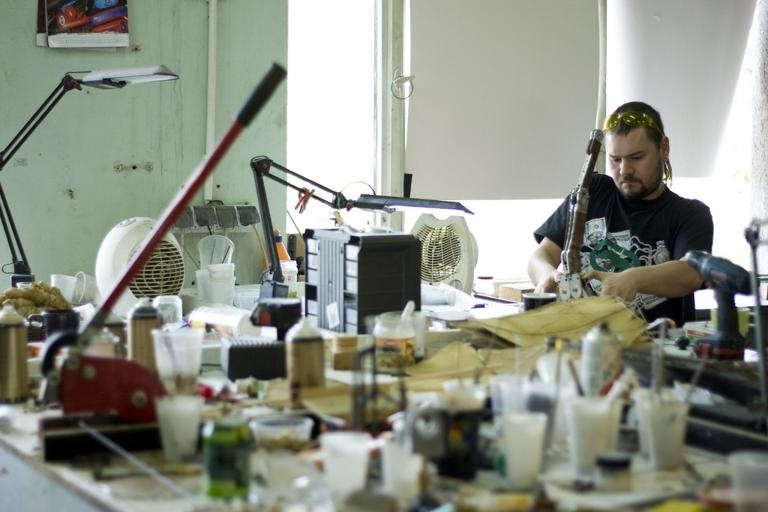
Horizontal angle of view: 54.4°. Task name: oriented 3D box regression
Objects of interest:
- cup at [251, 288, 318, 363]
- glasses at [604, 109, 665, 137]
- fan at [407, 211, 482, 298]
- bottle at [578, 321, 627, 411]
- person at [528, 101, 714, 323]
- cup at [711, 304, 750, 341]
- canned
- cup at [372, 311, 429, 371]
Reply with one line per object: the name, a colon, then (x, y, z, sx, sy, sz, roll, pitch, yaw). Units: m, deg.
cup: (-0.288, 0.206, 2.130, 0.144, 0.169, 0.115, 1, 0, -43)
glasses: (1.059, -0.562, 3.172, 0.240, 0.109, 0.129, 0, 4, 13)
fan: (0.288, 0.030, 3.477, 0.337, 0.473, 0.333, 2, -7, -6)
bottle: (0.504, 0.241, 1.721, 0.064, 0.161, 0.082, 3, 14, 6)
person: (0.994, -0.166, 3.198, 0.754, 0.974, 0.661, 0, 4, 24)
cup: (1.129, 0.214, 2.427, 0.123, 0.099, 0.096, -2, 5, -23)
canned: (-0.329, 0.437, 1.633, 0.100, 0.157, 0.095, 1, 1, 16)
cup: (0.037, 0.241, 2.191, 0.165, 0.252, 0.148, 0, -3, -8)
